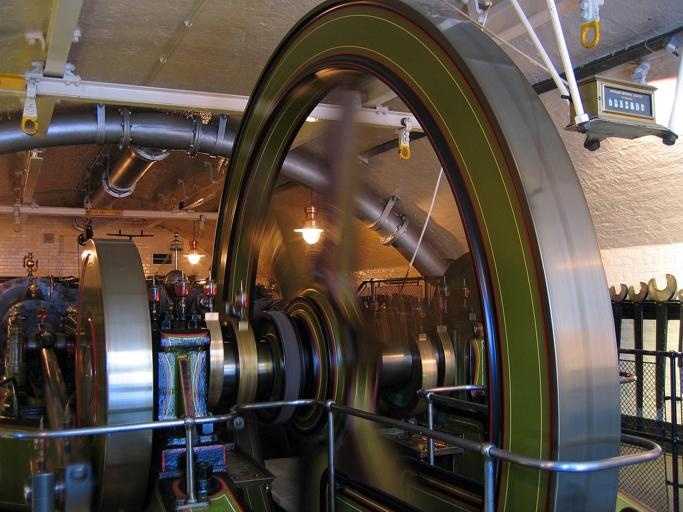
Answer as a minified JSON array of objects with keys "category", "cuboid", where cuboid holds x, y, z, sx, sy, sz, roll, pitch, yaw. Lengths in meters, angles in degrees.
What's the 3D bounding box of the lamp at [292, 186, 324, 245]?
[{"category":"lamp","cuboid":[-0.174,-0.243,3.042,0.186,0.310,0.199,2,-9,-19]}]
